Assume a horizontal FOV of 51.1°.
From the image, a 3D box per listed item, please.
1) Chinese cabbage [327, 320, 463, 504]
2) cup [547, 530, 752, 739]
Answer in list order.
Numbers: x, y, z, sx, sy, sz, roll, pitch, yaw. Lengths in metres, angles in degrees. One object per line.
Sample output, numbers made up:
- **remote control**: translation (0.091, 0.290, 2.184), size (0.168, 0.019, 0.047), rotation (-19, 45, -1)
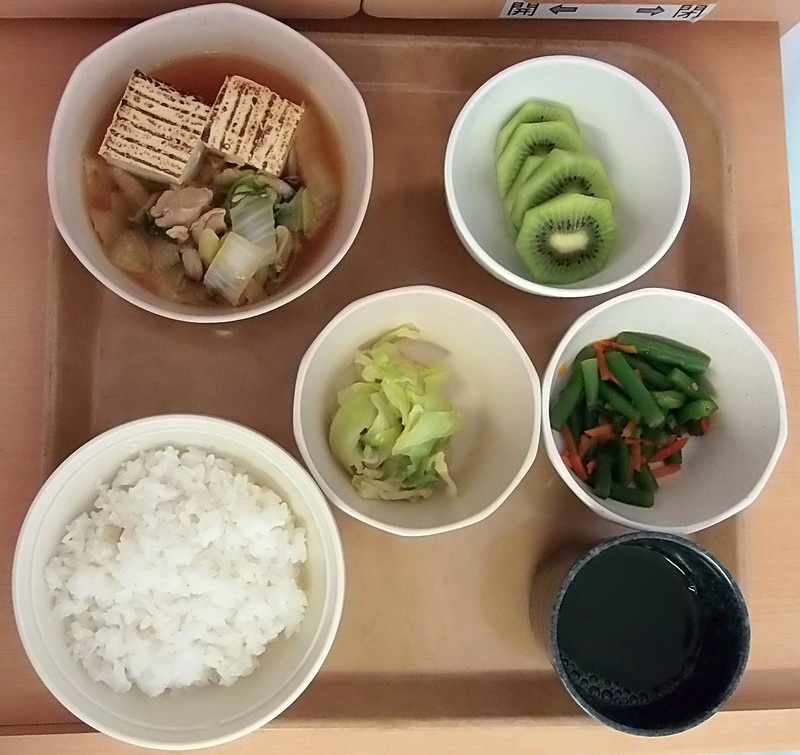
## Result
- **Chinese cabbage**: translation (-0.022, 0.076, 1.699), size (0.336, 0.269, 0.329), rotation (-9, 55, -10)
- **cup**: translation (0.458, 0.473, 1.580), size (0.374, 0.220, 0.368), rotation (0, 80, -2)
